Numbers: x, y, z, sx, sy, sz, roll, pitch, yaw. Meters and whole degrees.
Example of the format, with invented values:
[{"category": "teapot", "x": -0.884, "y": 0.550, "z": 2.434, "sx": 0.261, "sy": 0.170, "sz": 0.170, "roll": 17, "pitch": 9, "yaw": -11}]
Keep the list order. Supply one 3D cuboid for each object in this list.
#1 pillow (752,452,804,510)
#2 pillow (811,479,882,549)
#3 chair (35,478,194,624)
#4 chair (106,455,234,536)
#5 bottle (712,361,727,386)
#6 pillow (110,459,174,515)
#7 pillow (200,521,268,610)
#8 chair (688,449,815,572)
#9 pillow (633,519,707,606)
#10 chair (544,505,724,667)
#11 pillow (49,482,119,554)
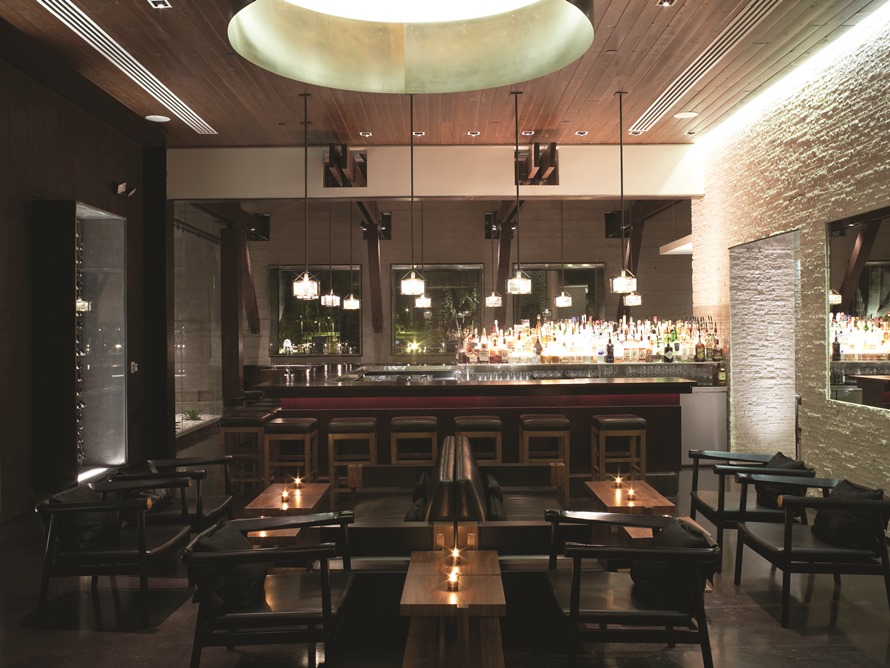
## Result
[{"category": "pillow", "x": 2.768, "y": 1.197, "z": 6.077, "sx": 0.135, "sy": 0.472, "sz": 0.391, "roll": 27, "pitch": -23, "yaw": -35}, {"category": "pillow", "x": 2.946, "y": 1.338, "z": 5.326, "sx": 0.219, "sy": 0.366, "sz": 0.410, "roll": 37, "pitch": -15, "yaw": -17}, {"category": "chair", "x": -2.497, "y": 1.526, "z": 5.661, "sx": 0.885, "sy": 0.976, "sz": 1.101, "roll": -1, "pitch": -4, "yaw": -2}, {"category": "chair", "x": -2.352, "y": 1.311, "z": 6.363, "sx": 0.792, "sy": 0.826, "sz": 0.871, "roll": -2, "pitch": -3, "yaw": 2}, {"category": "bottle", "x": 3.531, "y": 0.506, "z": 9.280, "sx": 0.164, "sy": 0.287, "sz": 0.081, "roll": -1, "pitch": -2, "yaw": -27}, {"category": "pillow", "x": -2.535, "y": 1.257, "z": 6.030, "sx": 0.416, "sy": 0.170, "sz": 0.354, "roll": 17, "pitch": 2, "yaw": -7}, {"category": "pillow", "x": -1.339, "y": 1.494, "z": 4.790, "sx": 0.361, "sy": 0.506, "sz": 0.678, "roll": 4, "pitch": 0, "yaw": 0}, {"category": "chair", "x": 2.696, "y": 1.445, "z": 6.416, "sx": 1.075, "sy": 1.068, "sz": 1.004, "roll": 1, "pitch": -4, "yaw": -3}, {"category": "pillow", "x": 1.433, "y": 1.506, "z": 4.756, "sx": 0.480, "sy": 0.489, "sz": 0.369, "roll": -1, "pitch": -6, "yaw": 13}, {"category": "chair", "x": 1.244, "y": 1.568, "z": 4.909, "sx": 0.953, "sy": 0.942, "sz": 1.073, "roll": 1, "pitch": -7, "yaw": 5}, {"category": "pillow", "x": -2.662, "y": 1.386, "z": 5.450, "sx": 0.377, "sy": 0.488, "sz": 0.504, "roll": -3, "pitch": -2, "yaw": -3}]
